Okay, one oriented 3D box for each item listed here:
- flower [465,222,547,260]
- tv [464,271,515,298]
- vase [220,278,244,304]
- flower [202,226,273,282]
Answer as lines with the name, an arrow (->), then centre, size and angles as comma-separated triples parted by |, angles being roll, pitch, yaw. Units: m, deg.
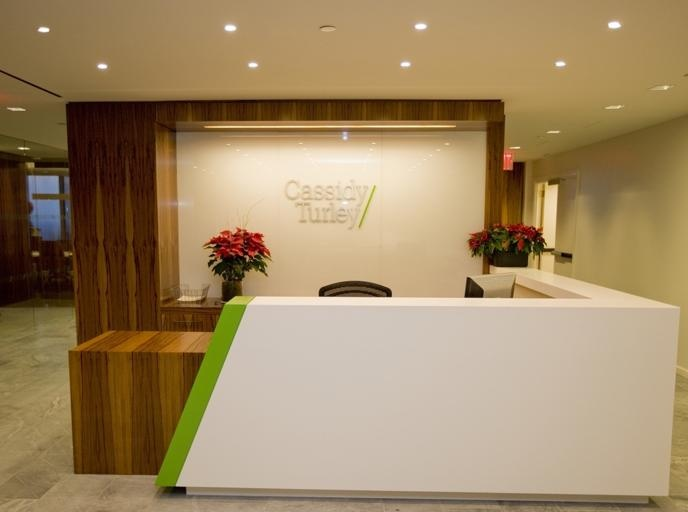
flower -> 1.873, -0.164, 5.692 | 0.652, 0.303, 0.678 | 0, -2, 1
tv -> 1.194, 0.246, 3.912 | 0.444, 0.193, 0.124 | -3, 10, -22
vase -> -1.305, 0.392, 5.663 | 0.295, 0.345, 0.308 | 1, 1, 7
flower -> -1.341, 0.005, 5.813 | 0.754, 0.662, 0.811 | -6, 5, 0
